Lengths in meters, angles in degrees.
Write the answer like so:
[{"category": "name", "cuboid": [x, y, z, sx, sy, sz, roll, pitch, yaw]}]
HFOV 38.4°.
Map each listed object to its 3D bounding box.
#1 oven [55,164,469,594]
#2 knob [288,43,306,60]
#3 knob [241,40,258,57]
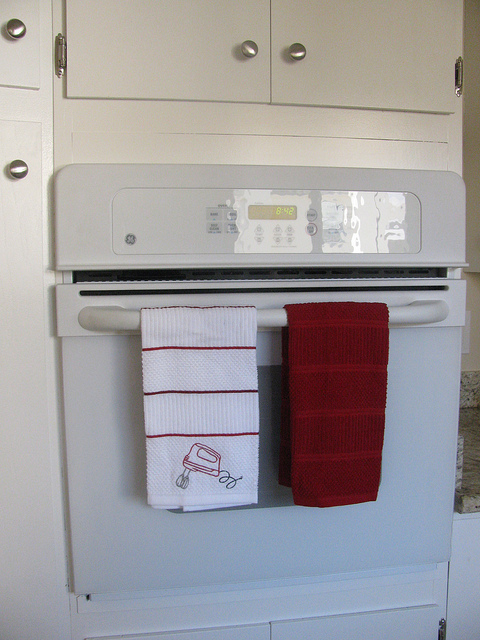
[{"category": "oven", "cuboid": [0.115, 0.056, 1.321, 0.916, 0.830, 0.600, -1, 0, -16]}, {"category": "knob", "cuboid": [0.089, -0.409, 1.051, 0.029, 0.029, 0.022, 4, -29, -10]}, {"category": "knob", "cuboid": [0.015, -0.404, 1.029, 0.022, 0.021, 0.009, -12, 14, -12]}]
